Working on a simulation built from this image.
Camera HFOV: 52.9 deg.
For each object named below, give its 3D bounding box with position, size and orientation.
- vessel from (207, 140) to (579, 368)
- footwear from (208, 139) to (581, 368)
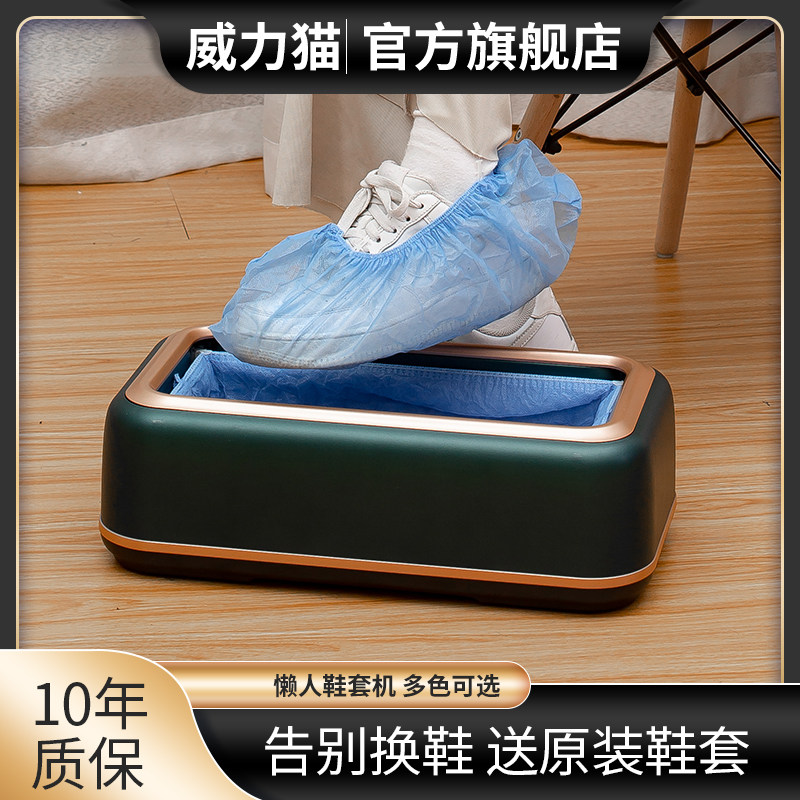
[{"bbox_3d":[-0.058,-0.139,0.778,0.445,0.161,0.154,-15,37,-25],"label":"vessel"},{"bbox_3d":[0.007,-0.135,0.713,0.359,0.111,0.191,-24,35,-24],"label":"footwear"}]
